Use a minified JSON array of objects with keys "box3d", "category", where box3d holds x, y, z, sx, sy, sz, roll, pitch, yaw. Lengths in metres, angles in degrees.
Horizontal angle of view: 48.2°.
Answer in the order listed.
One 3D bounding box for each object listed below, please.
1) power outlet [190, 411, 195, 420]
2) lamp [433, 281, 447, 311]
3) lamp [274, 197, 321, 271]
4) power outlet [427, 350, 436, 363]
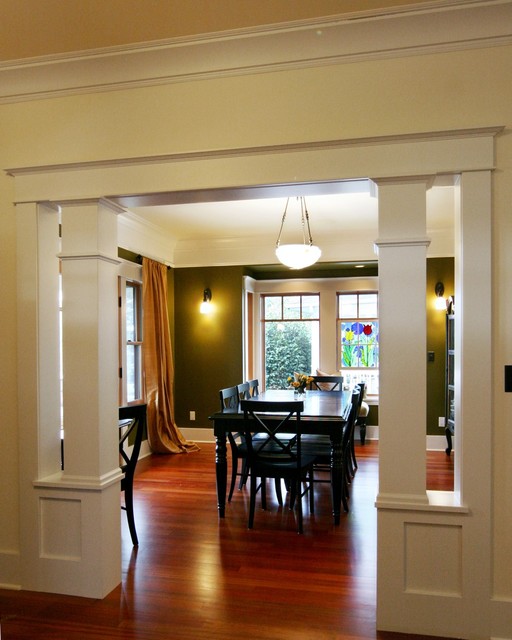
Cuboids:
[{"box3d":[-0.802,1.185,7.208,0.079,0.149,0.013,-1,-4,3],"category":"power outlet"},{"box3d":[2.121,-0.283,6.613,0.137,0.339,0.081,0,-1,-4],"category":"lamp"},{"box3d":[0.417,-0.894,5.726,0.368,1.164,0.434,1,-11,-3],"category":"lamp"},{"box3d":[2.033,0.416,6.627,0.109,0.203,0.047,-1,-3,1],"category":"power outlet"}]
